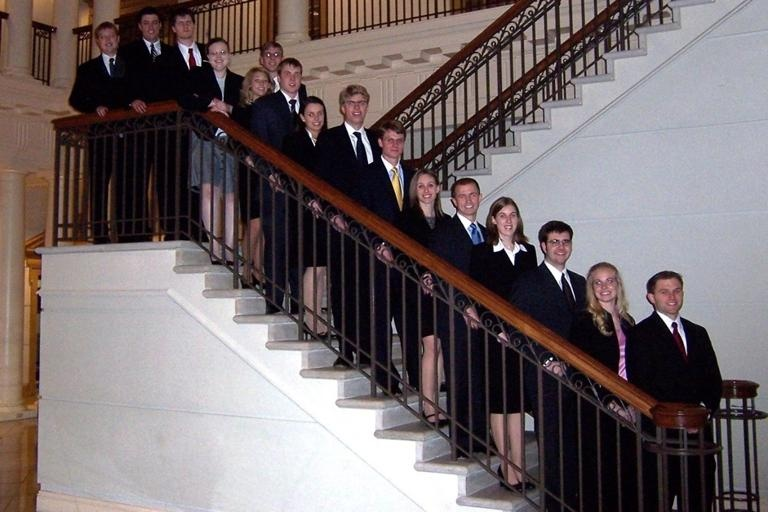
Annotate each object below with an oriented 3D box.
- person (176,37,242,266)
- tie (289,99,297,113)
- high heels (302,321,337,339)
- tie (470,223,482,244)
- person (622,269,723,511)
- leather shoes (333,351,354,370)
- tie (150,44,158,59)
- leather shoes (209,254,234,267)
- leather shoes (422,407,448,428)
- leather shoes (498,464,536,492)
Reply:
[{"bbox_3d":[-1.475,-0.899,6.376,0.483,1.933,0.752,1,2,-10],"label":"person"},{"bbox_3d":[-0.763,-1.248,6.274,0.087,0.094,0.021,0,1,-21],"label":"tie"},{"bbox_3d":[-0.540,0.611,6.027,0.334,0.145,0.116,-2,-4,16],"label":"high heels"},{"bbox_3d":[0.709,-0.165,5.738,0.093,0.161,0.036,-11,9,-34],"label":"tie"},{"bbox_3d":[2.073,0.967,5.370,0.620,1.174,0.725,3,2,28],"label":"person"},{"bbox_3d":[-0.319,0.828,5.902,0.139,0.152,0.128,0,-2,35],"label":"leather shoes"},{"bbox_3d":[-2.065,-1.817,6.717,0.082,0.119,0.029,1,-10,-35],"label":"tie"},{"bbox_3d":[-1.378,0.044,6.313,0.187,0.094,0.204,1,2,-15],"label":"leather shoes"},{"bbox_3d":[0.432,1.231,5.656,0.126,0.065,0.229,-1,0,-29],"label":"leather shoes"},{"bbox_3d":[0.896,1.633,5.432,0.398,0.184,0.125,-6,-5,34],"label":"leather shoes"}]
